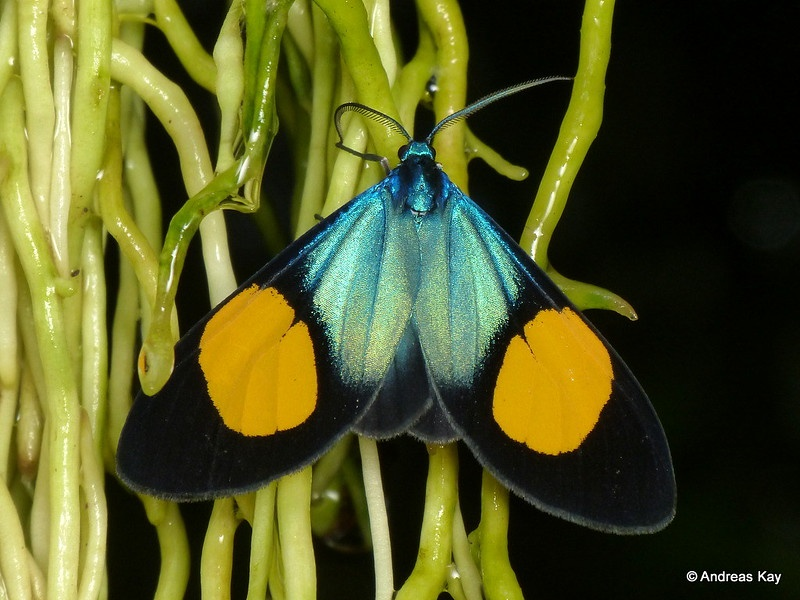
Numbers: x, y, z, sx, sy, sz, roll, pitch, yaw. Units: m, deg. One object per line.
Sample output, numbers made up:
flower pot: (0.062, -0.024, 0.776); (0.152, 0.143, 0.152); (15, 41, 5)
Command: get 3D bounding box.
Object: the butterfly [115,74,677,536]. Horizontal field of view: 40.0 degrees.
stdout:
butterfly: (-0.030, 0.017, 0.991); (0.419, 0.135, 0.452); (-6, 63, -17)
